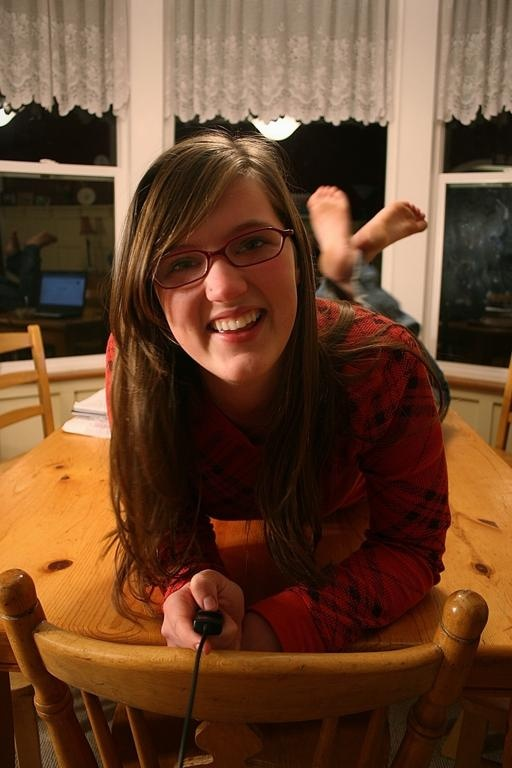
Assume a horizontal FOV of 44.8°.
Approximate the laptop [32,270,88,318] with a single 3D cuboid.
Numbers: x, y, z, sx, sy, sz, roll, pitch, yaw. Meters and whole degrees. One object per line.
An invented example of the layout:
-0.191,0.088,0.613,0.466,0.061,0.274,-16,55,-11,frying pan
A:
-0.886,-0.409,2.877,0.261,0.224,0.187,1,-10,-4,laptop
